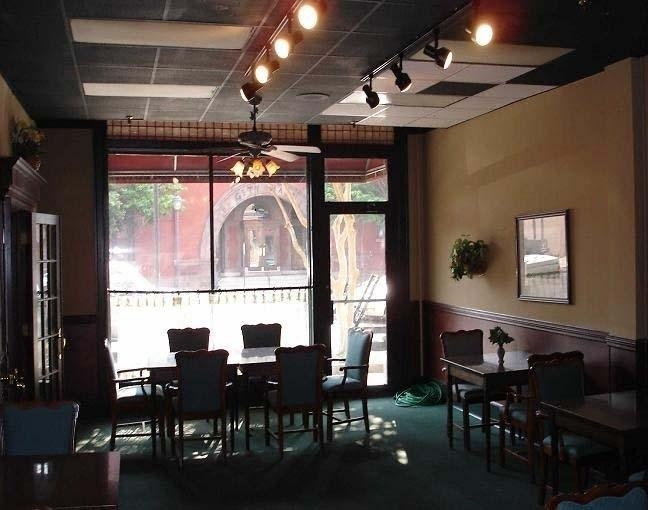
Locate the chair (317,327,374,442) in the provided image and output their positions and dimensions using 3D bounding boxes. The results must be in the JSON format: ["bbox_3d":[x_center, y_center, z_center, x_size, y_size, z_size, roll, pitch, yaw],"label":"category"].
[{"bbox_3d":[0.166,1.441,6.350,0.799,1.167,0.849,0,-4,17],"label":"chair"}]

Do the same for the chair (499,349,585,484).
[{"bbox_3d":[1.846,1.294,4.648,0.663,1.137,0.710,2,-24,17],"label":"chair"}]

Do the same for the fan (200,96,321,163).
[{"bbox_3d":[-0.656,-1.196,5.172,1.014,0.561,0.831,-8,10,-35],"label":"fan"}]

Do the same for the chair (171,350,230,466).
[{"bbox_3d":[-1.254,1.432,5.651,0.567,1.191,0.671,0,6,-12],"label":"chair"}]

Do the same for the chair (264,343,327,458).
[{"bbox_3d":[-0.271,1.476,5.763,0.567,1.121,0.644,-1,-6,-6],"label":"chair"}]

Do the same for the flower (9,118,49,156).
[{"bbox_3d":[-3.073,-1.212,5.750,0.293,0.393,0.284,-3,4,-29],"label":"flower"}]

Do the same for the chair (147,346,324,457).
[{"bbox_3d":[-1.075,1.767,5.846,1.811,0.942,1.036,0,-4,-19],"label":"chair"}]

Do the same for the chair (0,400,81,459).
[{"bbox_3d":[-1.986,1.195,3.936,0.359,0.623,0.406,3,-11,-13],"label":"chair"}]

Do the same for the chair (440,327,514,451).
[{"bbox_3d":[1.593,1.405,5.908,0.578,1.183,0.585,-4,-2,9],"label":"chair"}]

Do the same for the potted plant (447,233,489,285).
[{"bbox_3d":[1.761,0.050,6.726,0.428,0.484,0.249,0,3,14],"label":"potted plant"}]

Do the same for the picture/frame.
[{"bbox_3d":[2.287,0.007,5.743,0.083,1.206,1.004,-2,1,-23],"label":"picture/frame"}]

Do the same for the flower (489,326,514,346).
[{"bbox_3d":[1.787,0.822,5.599,0.198,0.223,0.291,0,4,23],"label":"flower"}]

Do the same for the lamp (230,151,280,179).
[{"bbox_3d":[-0.788,-0.995,6.151,0.479,0.185,0.456,-2,-10,11],"label":"lamp"}]

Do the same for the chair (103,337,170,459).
[{"bbox_3d":[-2.048,1.480,6.026,0.794,1.116,0.849,-3,-4,16],"label":"chair"}]
